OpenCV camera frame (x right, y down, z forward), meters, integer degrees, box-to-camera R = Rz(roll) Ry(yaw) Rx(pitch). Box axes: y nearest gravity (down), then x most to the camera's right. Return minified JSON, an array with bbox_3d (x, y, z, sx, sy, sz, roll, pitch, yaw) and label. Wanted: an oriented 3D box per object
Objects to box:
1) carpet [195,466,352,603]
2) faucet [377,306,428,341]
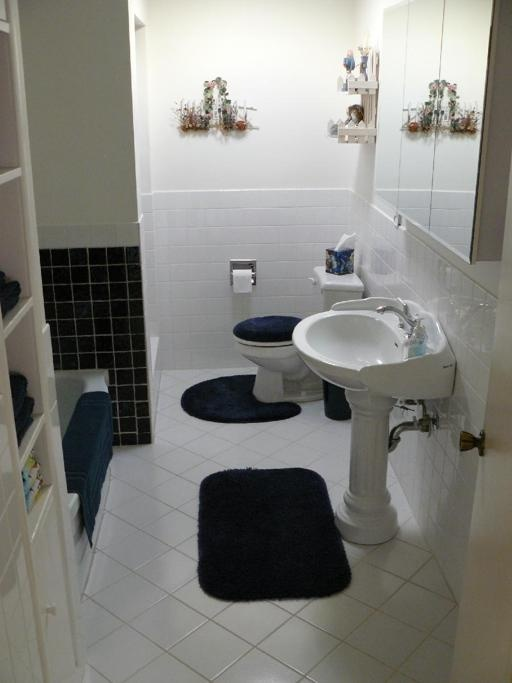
[{"bbox_3d":[0.050,0.820,2.204,0.619,0.086,0.818,-1,23,-3],"label":"carpet"},{"bbox_3d":[0.572,-0.080,1.983,0.078,0.113,0.283,-9,25,-7],"label":"faucet"}]
